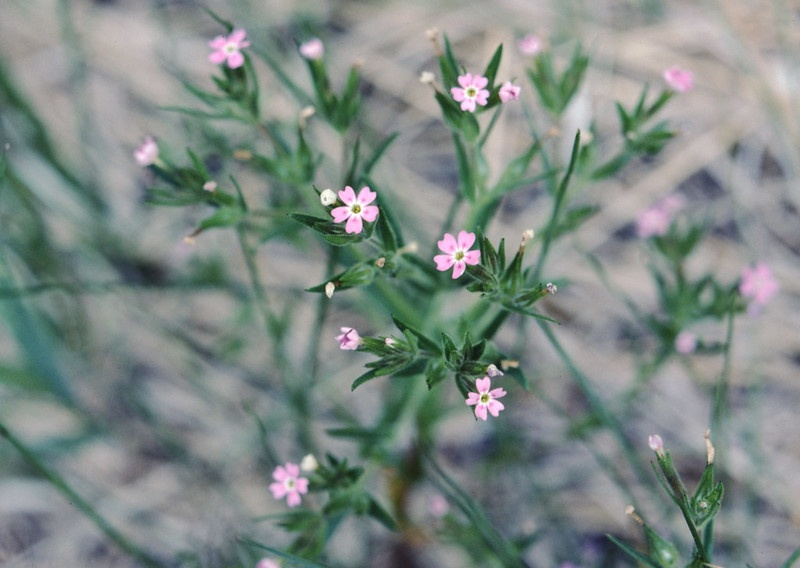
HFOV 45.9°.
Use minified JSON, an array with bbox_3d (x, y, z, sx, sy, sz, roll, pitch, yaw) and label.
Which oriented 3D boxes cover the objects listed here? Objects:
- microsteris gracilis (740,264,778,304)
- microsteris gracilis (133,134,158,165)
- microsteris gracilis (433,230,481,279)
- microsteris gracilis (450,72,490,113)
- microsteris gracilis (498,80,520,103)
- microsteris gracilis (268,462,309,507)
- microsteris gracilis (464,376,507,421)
[{"bbox_3d":[0.709,0.000,1.873,0.078,0.025,0.081,7,80,-29],"label":"microsteris gracilis"},{"bbox_3d":[-0.465,-0.245,1.730,0.026,0.054,0.045,25,84,-10],"label":"microsteris gracilis"},{"bbox_3d":[0.105,-0.056,1.659,0.083,0.096,0.021,-13,55,21],"label":"microsteris gracilis"},{"bbox_3d":[0.127,-0.343,1.711,0.069,0.044,0.066,7,80,-1],"label":"microsteris gracilis"},{"bbox_3d":[0.197,-0.347,1.710,0.039,0.029,0.045,-11,58,-8],"label":"microsteris gracilis"},{"bbox_3d":[-0.197,0.353,1.739,0.066,0.074,0.022,25,79,-29],"label":"microsteris gracilis"},{"bbox_3d":[0.149,0.201,1.653,0.066,0.018,0.078,22,103,-7],"label":"microsteris gracilis"}]
